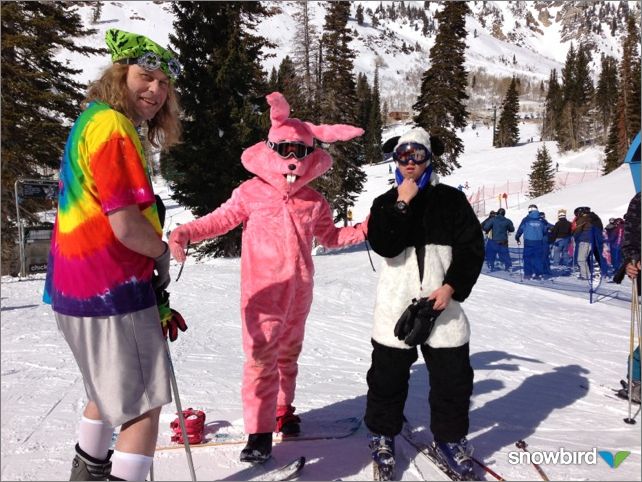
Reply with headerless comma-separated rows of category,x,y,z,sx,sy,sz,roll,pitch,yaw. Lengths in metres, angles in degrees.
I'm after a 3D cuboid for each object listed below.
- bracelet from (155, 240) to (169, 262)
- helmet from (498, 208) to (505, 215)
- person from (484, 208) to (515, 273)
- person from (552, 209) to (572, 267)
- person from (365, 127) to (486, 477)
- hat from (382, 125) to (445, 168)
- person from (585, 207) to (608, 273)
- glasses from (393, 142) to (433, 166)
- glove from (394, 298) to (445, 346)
bracelet,-1.442,0.097,5.783,0.122,0.166,0.063,7,-12,-1
helmet,4.974,-0.785,17.344,0.190,0.202,0.193,2,0,-14
person,4.845,0.037,17.187,0.751,1.774,0.648,3,-21,9
person,6.239,0.014,16.472,0.509,1.385,1.474,5,12,20
person,1.067,0.637,6.601,1.195,3.494,0.888,2,10,3
hat,1.009,-1.032,6.881,0.595,0.429,0.707,2,4,24
person,6.645,0.092,15.272,0.662,1.499,1.710,5,12,22
glasses,0.949,-0.891,6.584,0.220,0.137,0.264,0,-15,13
glove,0.999,0.787,6.531,0.480,0.382,0.197,-41,53,-21
